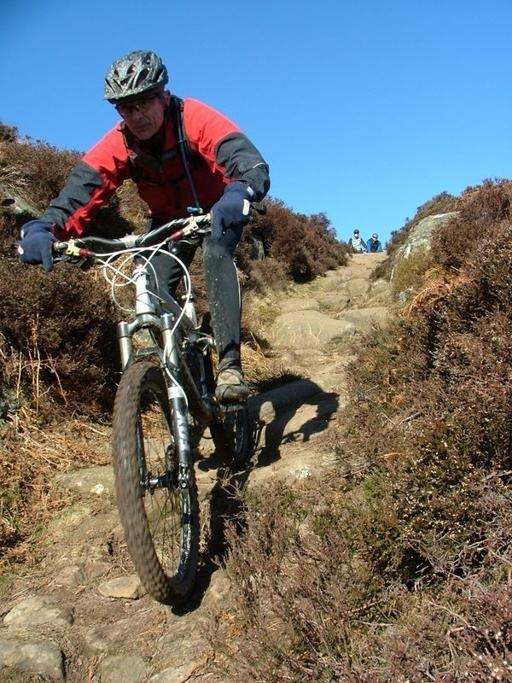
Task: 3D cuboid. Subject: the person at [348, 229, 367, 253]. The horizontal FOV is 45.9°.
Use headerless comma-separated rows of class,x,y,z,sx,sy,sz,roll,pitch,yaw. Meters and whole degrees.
person,3.834,-3.700,22.672,0.596,0.942,1.340,-2,-2,10
